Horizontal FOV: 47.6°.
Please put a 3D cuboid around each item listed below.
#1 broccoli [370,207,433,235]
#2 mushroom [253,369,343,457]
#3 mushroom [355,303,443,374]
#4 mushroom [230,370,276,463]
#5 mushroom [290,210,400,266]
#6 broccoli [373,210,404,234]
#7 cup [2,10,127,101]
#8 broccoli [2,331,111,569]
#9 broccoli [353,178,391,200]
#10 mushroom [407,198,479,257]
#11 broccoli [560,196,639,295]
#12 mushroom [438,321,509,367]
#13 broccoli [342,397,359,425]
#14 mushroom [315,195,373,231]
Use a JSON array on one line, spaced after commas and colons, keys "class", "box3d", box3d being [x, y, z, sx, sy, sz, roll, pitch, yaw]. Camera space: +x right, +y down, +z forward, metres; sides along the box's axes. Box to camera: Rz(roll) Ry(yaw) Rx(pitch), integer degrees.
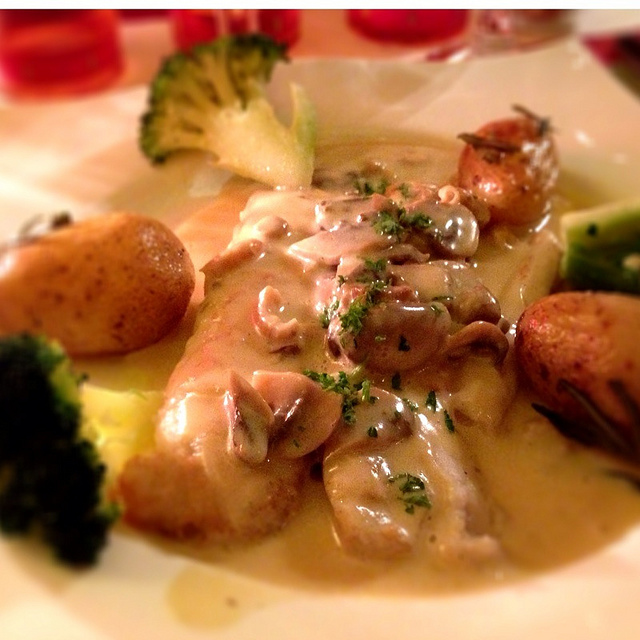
[{"class": "broccoli", "box3d": [0.155, -0.189, 1.405, 0.087, 0.021, 0.061, -9, 33, 10]}, {"class": "mushroom", "box3d": [-0.037, 0.160, 1.150, 0.126, 0.054, 0.141, 17, 75, -4]}, {"class": "mushroom", "box3d": [0.137, 0.033, 1.269, 0.152, 0.114, 0.077, -1, 50, 1]}, {"class": "mushroom", "box3d": [-0.110, 0.156, 1.151, 0.096, 0.032, 0.127, 5, 81, -32]}, {"class": "mushroom", "box3d": [0.045, -0.150, 1.389, 0.145, 0.040, 0.135, -8, 23, 5]}, {"class": "broccoli", "box3d": [0.126, -0.183, 1.394, 0.046, 0.014, 0.043, -5, 71, -4]}, {"class": "cup", "box3d": [-0.710, -0.718, 1.980, 0.283, 0.275, 0.260, 4, 33, -3]}, {"class": "broccoli", "box3d": [-0.404, 0.200, 1.096, 0.219, 0.079, 0.300, -2, 76, -47]}, {"class": "broccoli", "box3d": [0.113, -0.298, 1.615, 0.074, 0.021, 0.081, 9, 45, 12]}, {"class": "mushroom", "box3d": [0.243, -0.178, 1.449, 0.142, 0.093, 0.094, 4, 50, 5]}, {"class": "broccoli", "box3d": [0.475, -0.155, 1.335, 0.196, 0.058, 0.175, 2, 72, 12]}, {"class": "mushroom", "box3d": [0.273, 0.041, 1.287, 0.100, 0.069, 0.031, 9, 41, -12]}, {"class": "broccoli", "box3d": [0.049, 0.151, 1.209, 0.041, 0.013, 0.035, -6, 93, -8]}, {"class": "mushroom", "box3d": [0.048, -0.216, 1.472, 0.114, 0.028, 0.063, -7, 60, 2]}]
